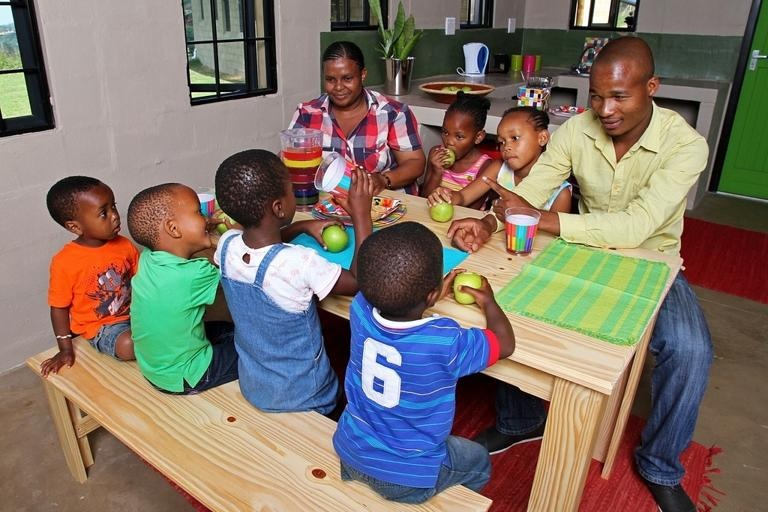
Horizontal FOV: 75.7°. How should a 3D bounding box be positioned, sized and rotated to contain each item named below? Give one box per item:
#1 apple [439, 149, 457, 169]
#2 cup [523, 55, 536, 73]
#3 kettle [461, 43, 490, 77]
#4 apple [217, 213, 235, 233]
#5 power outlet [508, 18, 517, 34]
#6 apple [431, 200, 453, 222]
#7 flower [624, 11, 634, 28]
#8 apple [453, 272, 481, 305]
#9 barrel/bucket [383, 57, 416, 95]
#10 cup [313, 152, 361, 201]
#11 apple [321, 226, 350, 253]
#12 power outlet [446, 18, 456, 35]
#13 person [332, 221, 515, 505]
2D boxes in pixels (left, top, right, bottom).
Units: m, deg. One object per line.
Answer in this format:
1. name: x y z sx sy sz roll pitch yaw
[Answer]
1. apple: 0.319 -0.503 2.554 0.086 0.106 0.087 -5 12 -6
2. cup: 1.552 -2.039 5.261 0.118 0.140 0.120 1 34 -1
3. kettle: 0.835 -1.776 4.486 0.217 0.344 0.333 16 27 40
4. apple: -0.618 -0.125 1.926 0.077 0.079 0.027 1 -23 2
5. power outlet: 1.391 -2.500 5.361 0.017 0.155 0.158 12 23 35
6. apple: 0.244 -0.188 2.097 0.086 0.086 0.087 -2 3 31
7. flower: 2.514 -2.386 5.017 0.122 0.122 0.116 4 6 44
8. apple: 0.259 0.101 1.636 0.093 0.117 0.094 8 2 -1
9. barrel/bucket: 0.117 -1.430 3.943 0.282 0.291 0.282 0 22 0
10. cup: -0.175 -0.257 1.886 0.168 0.180 0.164 23 24 -11
11. apple: -0.184 -0.063 1.920 0.095 0.114 0.096 0 10 9
12. power outlet: 0.613 -2.126 4.568 0.019 0.137 0.139 19 26 31
13. person: 0.119 0.340 1.478 0.536 0.889 0.317 -10 26 -23
